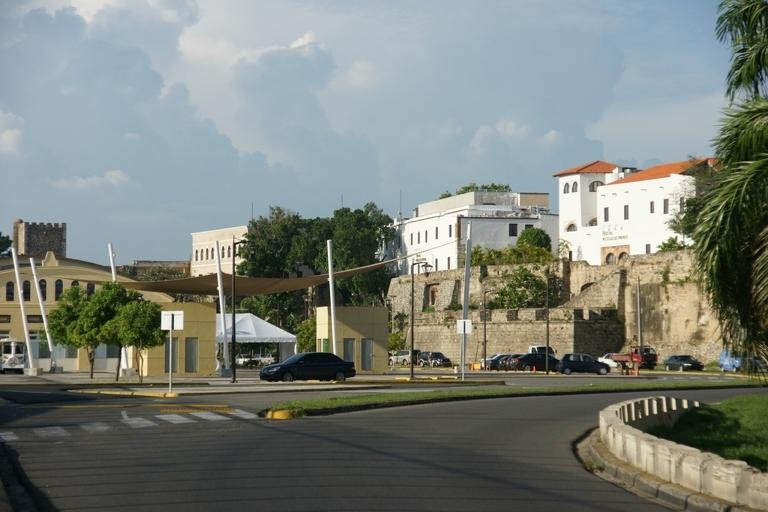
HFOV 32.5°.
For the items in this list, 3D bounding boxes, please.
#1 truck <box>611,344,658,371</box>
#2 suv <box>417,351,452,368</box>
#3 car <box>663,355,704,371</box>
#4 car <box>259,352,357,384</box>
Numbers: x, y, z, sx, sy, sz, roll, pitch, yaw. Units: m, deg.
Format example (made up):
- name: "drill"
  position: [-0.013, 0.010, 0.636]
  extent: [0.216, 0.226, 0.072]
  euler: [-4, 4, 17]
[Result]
- name: "truck"
  position: [17.919, 7.139, 94.321]
  extent: [1.882, 1.815, 3.684]
  euler: [3, -8, -32]
- name: "suv"
  position: [3.815, 8.138, 105.719]
  extent: [1.219, 0.842, 2.068]
  euler: [4, -10, -41]
- name: "car"
  position: [20.884, 7.363, 92.008]
  extent: [1.082, 0.779, 2.352]
  euler: [2, -10, -25]
- name: "car"
  position: [-4.051, 5.831, 70.473]
  extent: [4.656, 1.563, 1.071]
  euler: [-1, -6, -16]
